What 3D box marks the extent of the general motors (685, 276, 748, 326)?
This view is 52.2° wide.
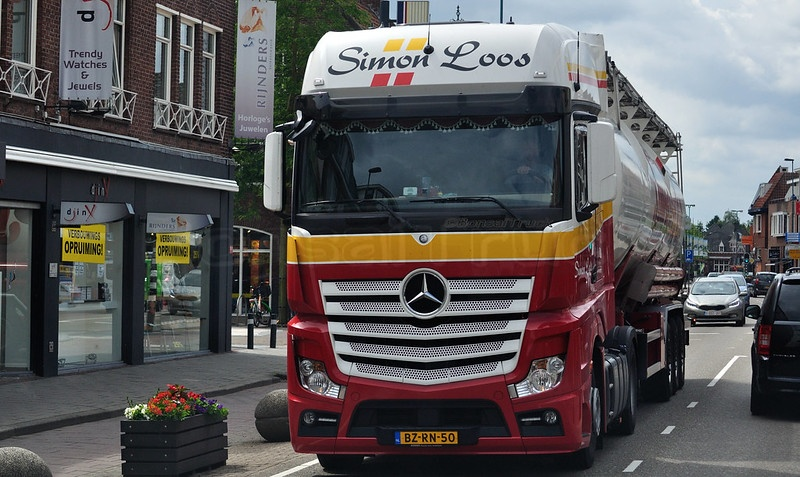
[{"bbox_3d":[14.786,3.060,38.272,3.212,2.258,2.131,-1,2,-44],"label":"general motors"}]

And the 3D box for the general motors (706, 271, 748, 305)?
[{"bbox_3d":[16.469,2.548,40.947,1.156,1.049,2.479,-2,-8,12],"label":"general motors"}]

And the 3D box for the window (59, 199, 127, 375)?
[{"bbox_3d":[-7.995,1.207,21.197,0.539,4.242,2.175,0,1,17],"label":"window"}]

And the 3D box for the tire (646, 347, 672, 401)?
[{"bbox_3d":[5.364,2.794,16.890,0.366,1.064,1.044,2,31,23],"label":"tire"}]

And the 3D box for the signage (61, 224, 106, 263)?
[{"bbox_3d":[-8.157,0.177,20.965,0.093,0.981,1.501,0,1,22],"label":"signage"}]

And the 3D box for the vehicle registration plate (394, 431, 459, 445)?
[{"bbox_3d":[0.370,2.730,11.199,0.874,0.201,0.048,0,1,4],"label":"vehicle registration plate"}]

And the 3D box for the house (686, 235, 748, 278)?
[{"bbox_3d":[56.403,3.212,143.074,7.305,5.018,7.203,-1,-2,12],"label":"house"}]

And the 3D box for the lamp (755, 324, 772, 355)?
[{"bbox_3d":[6.837,1.889,15.272,0.277,0.501,0.270,4,5,12],"label":"lamp"}]

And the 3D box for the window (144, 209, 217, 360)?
[{"bbox_3d":[-6.631,1.237,24.130,4.187,4.776,0.070,-5,-6,44],"label":"window"}]

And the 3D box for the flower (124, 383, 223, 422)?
[{"bbox_3d":[-3.329,2.506,12.390,0.700,0.354,0.933,1,-1,9],"label":"flower"}]
